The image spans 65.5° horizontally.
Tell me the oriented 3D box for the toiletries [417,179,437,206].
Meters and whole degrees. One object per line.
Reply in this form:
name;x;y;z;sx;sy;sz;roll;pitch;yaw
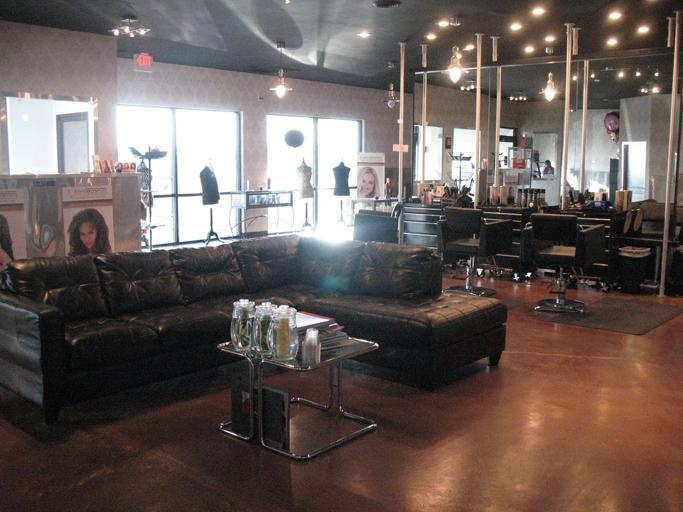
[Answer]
toiletries;1.591;-1.104;9.274;0.529;0.517;0.300;1;6;13

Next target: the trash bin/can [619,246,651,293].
trash bin/can;4.132;0.186;7.495;0.447;0.612;0.310;2;12;10

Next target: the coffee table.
coffee table;-0.296;0.943;3.822;1.265;0.585;1.247;1;2;1

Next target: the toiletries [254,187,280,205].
toiletries;-1.638;-1.273;11.749;0.141;0.350;0.717;8;14;34

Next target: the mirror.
mirror;3.366;-2.072;8.516;2.973;1.684;0.047;11;14;41

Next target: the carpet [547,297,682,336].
carpet;3.355;0.691;6.366;1.842;0.052;1.018;-8;14;-38

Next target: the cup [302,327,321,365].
cup;-0.191;0.581;3.370;0.112;0.202;0.149;0;12;-4

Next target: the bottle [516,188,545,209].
bottle;3.021;-0.915;8.423;0.398;0.355;0.384;-1;6;1

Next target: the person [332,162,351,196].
person;0.011;-1.867;12.847;0.394;0.832;0.460;1;12;1

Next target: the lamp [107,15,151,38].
lamp;-3.013;-3.290;7.575;0.513;0.212;0.502;-4;14;-11

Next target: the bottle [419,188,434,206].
bottle;1.418;-1.003;9.151;0.302;0.309;0.280;-1;6;-6

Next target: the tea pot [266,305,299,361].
tea pot;-0.377;0.499;3.433;0.191;0.336;0.176;0;12;0

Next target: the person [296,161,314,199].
person;-0.875;-1.836;12.743;0.333;0.876;0.547;-1;12;-4

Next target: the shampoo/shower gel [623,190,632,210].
shampoo/shower gel;4.199;-0.818;7.797;0.061;0.231;0.249;6;0;18

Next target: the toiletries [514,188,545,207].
toiletries;2.962;-0.930;8.431;0.354;0.346;0.490;-5;7;-38
